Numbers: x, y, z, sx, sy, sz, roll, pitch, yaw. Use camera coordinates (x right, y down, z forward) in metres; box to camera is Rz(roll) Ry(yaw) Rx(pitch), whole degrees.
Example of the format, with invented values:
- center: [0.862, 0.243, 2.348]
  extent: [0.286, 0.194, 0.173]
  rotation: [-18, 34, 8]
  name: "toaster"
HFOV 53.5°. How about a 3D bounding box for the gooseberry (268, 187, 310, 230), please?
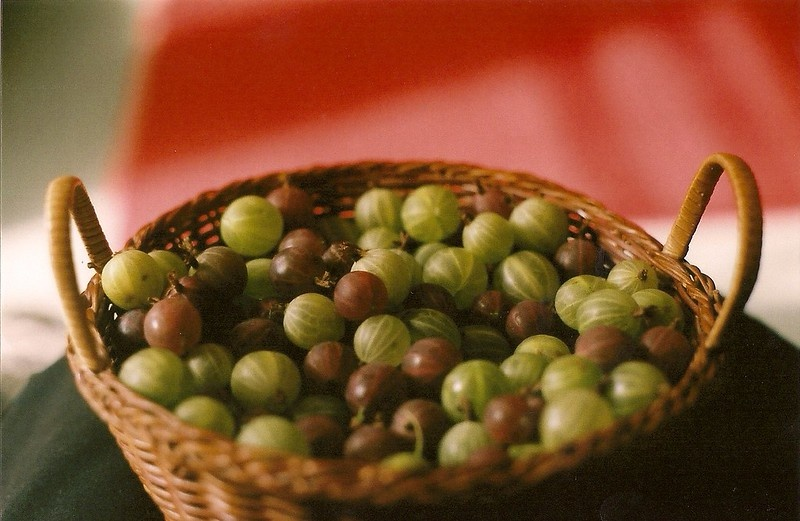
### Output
- center: [-0.380, -0.193, 2.713]
  extent: [0.125, 0.150, 0.127]
  rotation: [-21, -11, 38]
  name: "gooseberry"
